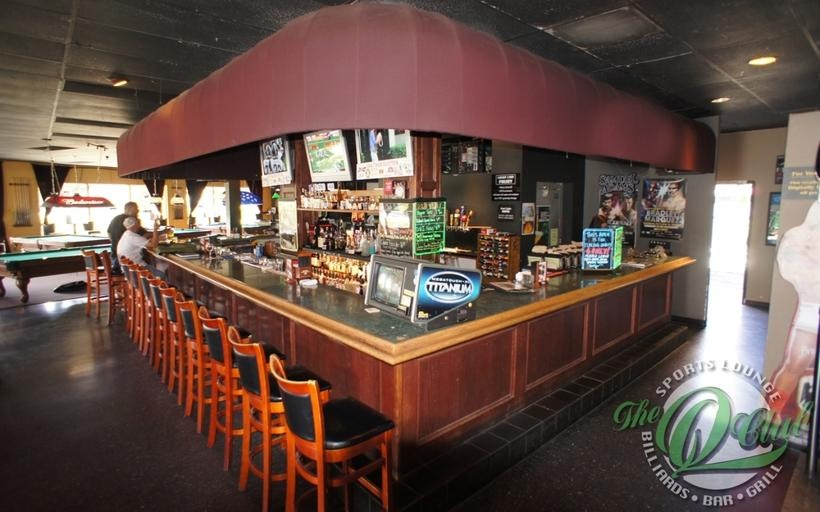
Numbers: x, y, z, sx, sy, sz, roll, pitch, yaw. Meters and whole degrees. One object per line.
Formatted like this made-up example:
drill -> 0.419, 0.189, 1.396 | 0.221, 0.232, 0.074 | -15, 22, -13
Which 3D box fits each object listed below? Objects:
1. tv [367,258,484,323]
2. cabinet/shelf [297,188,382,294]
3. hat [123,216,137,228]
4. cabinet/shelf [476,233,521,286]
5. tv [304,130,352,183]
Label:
tv -> 0.175, 0.162, 6.208 | 0.843, 0.686, 1.088 | -2, 8, -34
cabinet/shelf -> -1.109, -0.181, 7.891 | 0.685, 1.753, 1.957 | -6, 10, -43
hat -> -5.121, -0.624, 9.569 | 0.116, 0.149, 0.151 | 37, 35, -11
cabinet/shelf -> 1.518, 0.047, 8.771 | 0.303, 0.887, 0.775 | -3, 6, -37
tv -> -1.212, -1.431, 7.435 | 0.106, 0.721, 0.819 | 1, 15, 33
